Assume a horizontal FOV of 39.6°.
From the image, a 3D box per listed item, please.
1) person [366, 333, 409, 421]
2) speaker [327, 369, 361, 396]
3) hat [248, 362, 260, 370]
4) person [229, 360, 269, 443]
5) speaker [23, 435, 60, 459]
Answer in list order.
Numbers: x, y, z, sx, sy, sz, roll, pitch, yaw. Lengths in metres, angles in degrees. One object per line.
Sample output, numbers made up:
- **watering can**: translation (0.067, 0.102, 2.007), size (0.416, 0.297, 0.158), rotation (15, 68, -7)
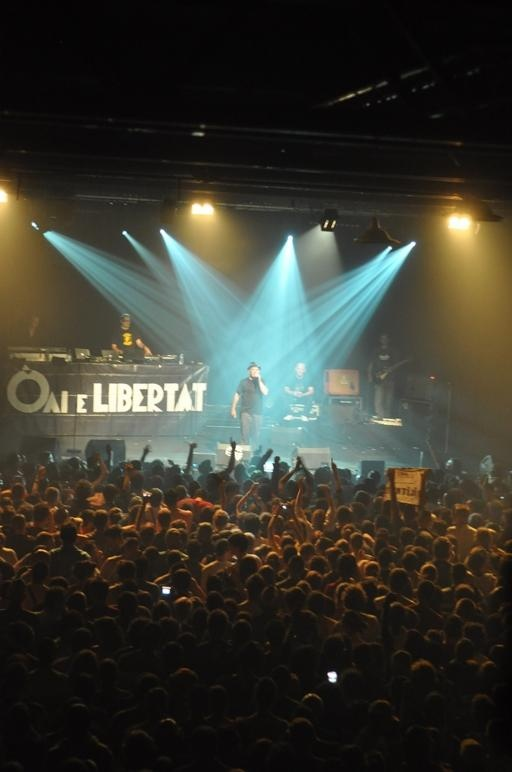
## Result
- **person**: translation (2.450, -0.198, 13.236), size (0.655, 1.639, 1.140), rotation (2, -5, 9)
- **speaker**: translation (1.637, -0.061, 13.321), size (0.447, 0.401, 0.244), rotation (5, -16, -17)
- **hat**: translation (-0.030, -0.364, 12.640), size (0.241, 0.101, 0.274), rotation (1, -7, -7)
- **person**: translation (-0.110, 0.269, 11.600), size (0.521, 1.320, 0.482), rotation (3, -5, 0)
- **speaker**: translation (-2.232, 0.631, 7.380), size (0.443, 0.223, 0.299), rotation (6, 4, -15)
